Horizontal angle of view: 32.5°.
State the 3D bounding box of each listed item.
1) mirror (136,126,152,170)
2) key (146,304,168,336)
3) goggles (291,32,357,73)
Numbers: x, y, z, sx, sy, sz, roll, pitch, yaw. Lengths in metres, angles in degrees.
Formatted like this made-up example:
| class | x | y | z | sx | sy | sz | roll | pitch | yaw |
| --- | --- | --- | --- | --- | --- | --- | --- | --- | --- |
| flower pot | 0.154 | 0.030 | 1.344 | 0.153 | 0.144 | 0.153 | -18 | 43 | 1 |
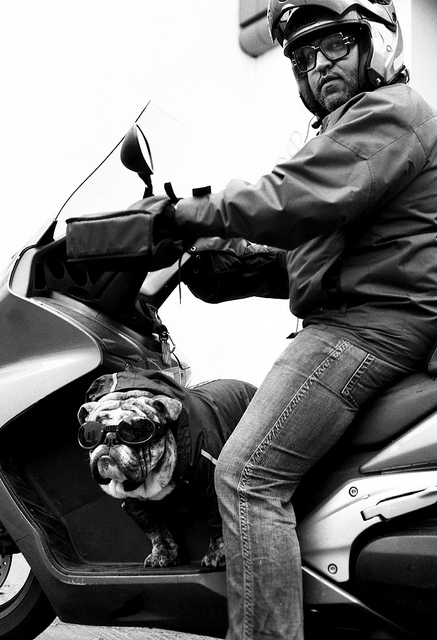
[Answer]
| class | x | y | z | sx | sy | sz | roll | pitch | yaw |
| --- | --- | --- | --- | --- | --- | --- | --- | --- | --- |
| mirror | -0.174 | -0.400 | 1.738 | 0.016 | 0.101 | 0.109 | -14 | 2 | -2 |
| key | -0.196 | 0.013 | 2.411 | 0.037 | 0.132 | 0.038 | -28 | 8 | -6 |
| goggles | 0.254 | -0.649 | 1.824 | 0.037 | 0.061 | 0.196 | -29 | 18 | -40 |
